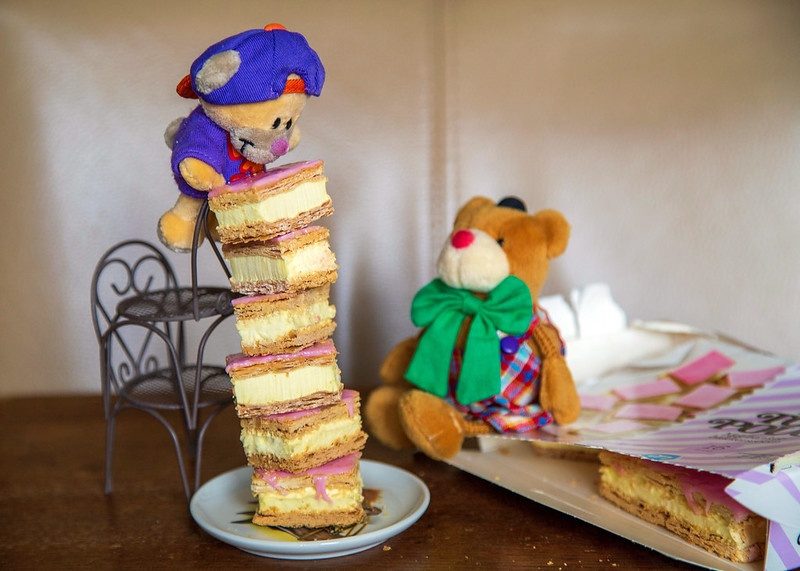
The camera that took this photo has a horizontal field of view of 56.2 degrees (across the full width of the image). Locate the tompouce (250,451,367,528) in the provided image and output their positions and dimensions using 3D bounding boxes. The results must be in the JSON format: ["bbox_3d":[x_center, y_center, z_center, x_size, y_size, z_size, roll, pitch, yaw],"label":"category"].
[{"bbox_3d":[-0.168,0.360,1.371,0.146,0.069,0.145,0,1,-1],"label":"tompouce"}]

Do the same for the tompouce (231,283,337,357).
[{"bbox_3d":[-0.213,0.059,1.394,0.199,0.103,0.101,-12,7,-22],"label":"tompouce"}]

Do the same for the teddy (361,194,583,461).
[{"bbox_3d":[0.097,0.032,1.727,0.476,0.598,0.558,-7,12,-34],"label":"teddy"}]

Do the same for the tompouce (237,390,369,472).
[{"bbox_3d":[-0.189,0.237,1.387,0.144,0.092,0.180,-1,3,44],"label":"tompouce"}]

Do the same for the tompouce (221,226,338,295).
[{"bbox_3d":[-0.225,-0.049,1.399,0.175,0.105,0.139,0,15,36],"label":"tompouce"}]
